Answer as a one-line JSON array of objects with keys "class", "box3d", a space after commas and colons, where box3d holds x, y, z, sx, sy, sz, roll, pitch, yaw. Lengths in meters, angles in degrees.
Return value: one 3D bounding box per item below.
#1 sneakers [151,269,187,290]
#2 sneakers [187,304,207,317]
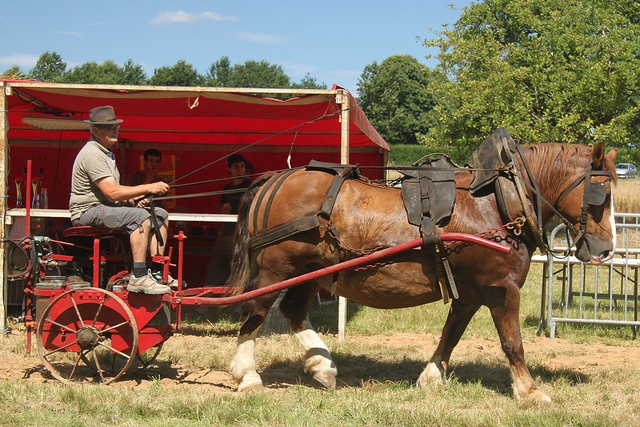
[{"class": "sneakers", "box3d": [-2.720, 1.217, 20.123, 0.719, 0.269, 0.228, 22, -9, -18]}, {"class": "sneakers", "box3d": [-2.504, 2.012, 22.952, 0.357, 0.170, 0.261, -6, -1, 13]}]
